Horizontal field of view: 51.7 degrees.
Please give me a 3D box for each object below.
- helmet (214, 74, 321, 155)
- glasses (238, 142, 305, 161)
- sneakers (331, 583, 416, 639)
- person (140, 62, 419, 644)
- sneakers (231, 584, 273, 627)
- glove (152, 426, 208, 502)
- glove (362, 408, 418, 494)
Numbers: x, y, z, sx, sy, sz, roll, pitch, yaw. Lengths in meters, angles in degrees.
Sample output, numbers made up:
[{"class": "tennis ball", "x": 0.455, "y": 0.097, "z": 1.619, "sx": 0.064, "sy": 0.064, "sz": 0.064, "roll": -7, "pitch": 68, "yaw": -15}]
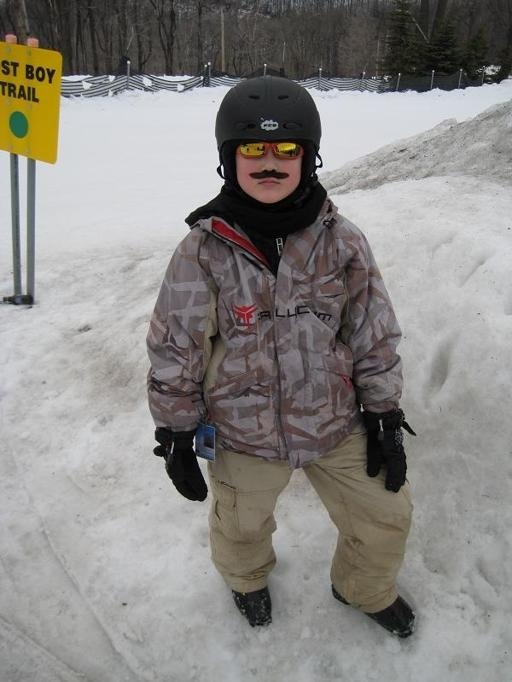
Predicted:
[{"class": "helmet", "x": 0.069, "y": -0.726, "z": 1.799, "sx": 0.267, "sy": 0.284, "sz": 0.359, "roll": -4, "pitch": -5, "yaw": 18}, {"class": "glasses", "x": 0.041, "y": -0.591, "z": 1.643, "sx": 0.193, "sy": 0.057, "sz": 0.050, "roll": -3, "pitch": 26, "yaw": 0}, {"class": "sneakers", "x": 0.439, "y": 0.970, "z": 1.930, "sx": 0.252, "sy": 0.104, "sz": 0.086, "roll": 27, "pitch": 57, "yaw": 30}, {"class": "person", "x": 0.111, "y": 0.114, "z": 1.822, "sx": 0.912, "sy": 1.840, "sz": 0.588, "roll": 1, "pitch": 26, "yaw": 10}, {"class": "sneakers", "x": -0.002, "y": 0.989, "z": 1.975, "sx": 0.096, "sy": 0.164, "sz": 0.047, "roll": -6, "pitch": -13, "yaw": -9}, {"class": "glove", "x": -0.279, "y": 0.356, "z": 1.782, "sx": 0.165, "sy": 0.262, "sz": 0.100, "roll": -2, "pitch": 17, "yaw": 29}, {"class": "glove", "x": 0.451, "y": 0.369, "z": 1.804, "sx": 0.184, "sy": 0.281, "sz": 0.163, "roll": -2, "pitch": 2, "yaw": 0}]
